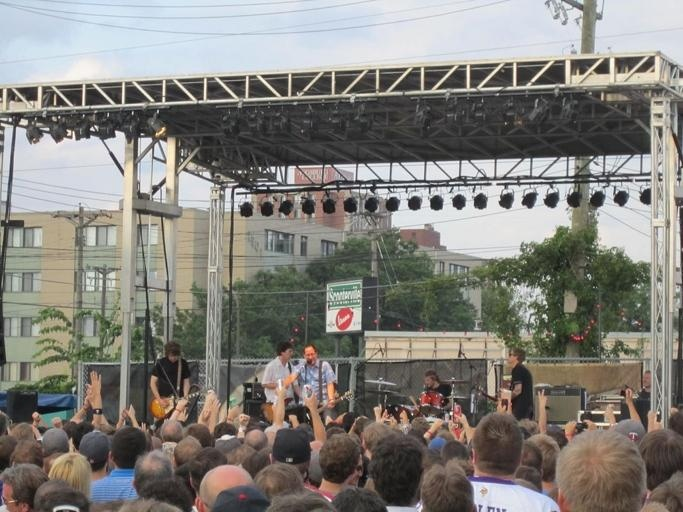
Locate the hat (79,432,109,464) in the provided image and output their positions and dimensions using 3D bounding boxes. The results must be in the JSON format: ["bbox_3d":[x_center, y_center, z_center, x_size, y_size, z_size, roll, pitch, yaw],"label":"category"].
[{"bbox_3d":[-4.029,3.128,28.877,0.486,0.534,0.240,2,-6,-10],"label":"hat"}]

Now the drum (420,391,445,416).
[{"bbox_3d":[1.944,3.217,38.281,0.516,0.390,0.520,6,-29,4],"label":"drum"}]

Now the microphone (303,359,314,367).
[{"bbox_3d":[-0.625,2.074,34.382,0.127,0.132,0.162,-2,-7,2],"label":"microphone"}]

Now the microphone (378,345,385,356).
[{"bbox_3d":[1.022,2.415,45.133,0.206,0.245,0.367,-1,-3,5],"label":"microphone"}]

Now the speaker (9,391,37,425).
[{"bbox_3d":[-6.592,3.140,36.480,0.309,0.912,0.533,2,-11,-25],"label":"speaker"}]

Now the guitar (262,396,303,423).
[{"bbox_3d":[-1.109,3.020,34.515,0.659,0.633,0.416,5,16,11],"label":"guitar"}]
